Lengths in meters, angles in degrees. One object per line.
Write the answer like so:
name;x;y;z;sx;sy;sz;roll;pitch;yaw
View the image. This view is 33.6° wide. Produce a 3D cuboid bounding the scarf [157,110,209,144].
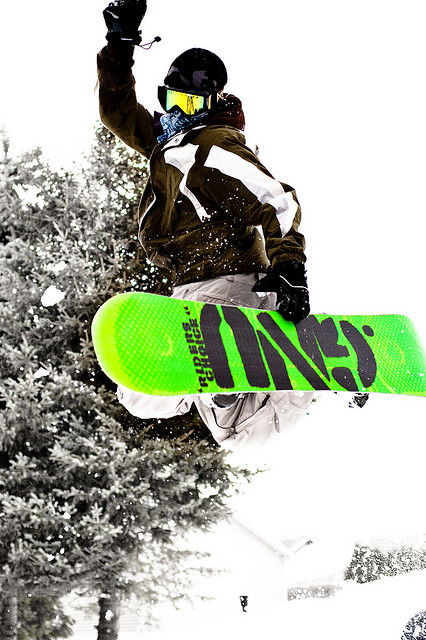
scarf;-0.184;-1.044;3.834;0.185;0.156;0.126;-4;1;29
